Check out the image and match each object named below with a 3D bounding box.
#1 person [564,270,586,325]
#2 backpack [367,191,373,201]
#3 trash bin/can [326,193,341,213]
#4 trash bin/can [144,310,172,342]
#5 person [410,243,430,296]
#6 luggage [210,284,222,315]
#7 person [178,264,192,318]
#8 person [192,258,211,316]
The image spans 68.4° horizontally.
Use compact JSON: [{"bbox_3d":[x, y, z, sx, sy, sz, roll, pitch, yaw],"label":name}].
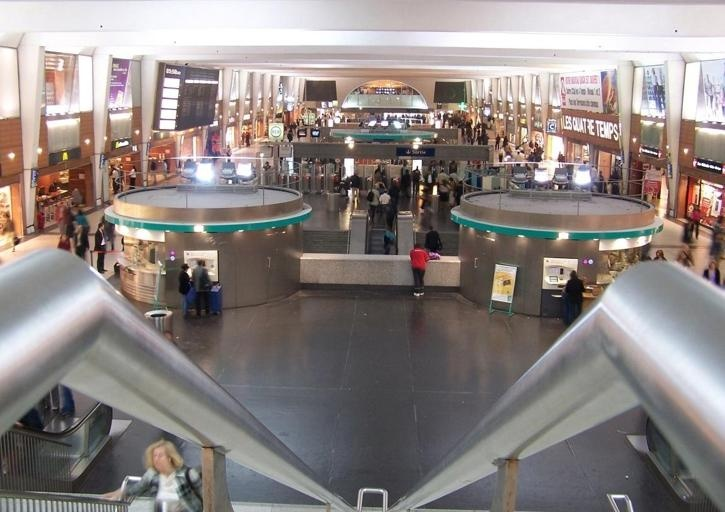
[{"bbox_3d":[5.702,1.178,14.393,0.498,1.513,0.530,5,13,22],"label":"person"},{"bbox_3d":[0.418,-2.865,25.508,0.282,0.432,0.395,1,-1,5],"label":"backpack"},{"bbox_3d":[-1.455,-2.845,28.165,0.824,1.014,0.871,2,6,6],"label":"trash bin/can"},{"bbox_3d":[-4.582,1.611,12.161,0.476,0.642,0.642,-8,16,-32],"label":"trash bin/can"},{"bbox_3d":[1.792,0.489,16.941,0.568,1.467,0.632,2,12,5],"label":"person"},{"bbox_3d":[-4.195,1.241,15.314,0.327,0.774,0.447,-2,13,-13],"label":"luggage"},{"bbox_3d":[-4.938,0.964,14.908,0.329,1.451,0.434,-4,13,-20],"label":"person"},{"bbox_3d":[-4.545,0.889,14.995,0.476,1.618,0.445,11,16,41],"label":"person"}]
